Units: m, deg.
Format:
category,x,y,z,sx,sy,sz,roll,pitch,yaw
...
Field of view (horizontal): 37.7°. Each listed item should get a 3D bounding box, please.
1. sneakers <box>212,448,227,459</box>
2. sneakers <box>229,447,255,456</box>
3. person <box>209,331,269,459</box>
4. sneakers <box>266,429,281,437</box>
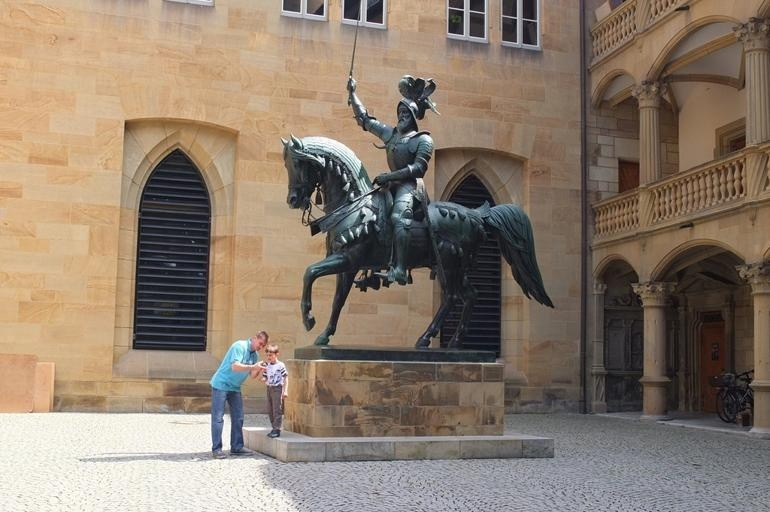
category,x,y,z,sx,sy,sz,roll,pitch,yaw
sneakers,-3.358,4.033,22.796,0.337,0.118,0.135,-14,-19,43
sneakers,-2.951,4.041,23.095,0.514,0.165,0.166,1,-9,-5
person,-3.024,2.814,22.858,1.022,2.558,1.466,4,-11,-12
sneakers,-2.311,3.689,23.178,0.259,0.088,0.128,2,-8,8
